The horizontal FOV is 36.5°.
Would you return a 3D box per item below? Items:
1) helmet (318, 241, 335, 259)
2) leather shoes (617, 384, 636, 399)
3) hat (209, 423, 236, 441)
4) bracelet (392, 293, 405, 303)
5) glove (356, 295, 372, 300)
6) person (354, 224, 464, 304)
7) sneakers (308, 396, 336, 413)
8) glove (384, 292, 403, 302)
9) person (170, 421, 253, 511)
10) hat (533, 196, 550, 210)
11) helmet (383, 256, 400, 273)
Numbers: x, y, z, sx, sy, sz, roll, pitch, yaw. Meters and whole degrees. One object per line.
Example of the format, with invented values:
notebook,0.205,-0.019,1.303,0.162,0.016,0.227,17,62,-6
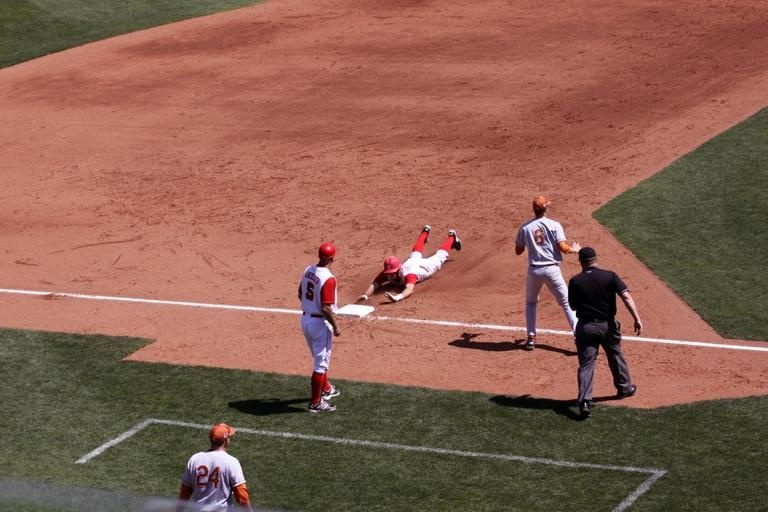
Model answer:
helmet,-1.298,-0.169,26.768,0.414,0.214,0.436,8,37,9
leather shoes,5.649,3.153,27.351,0.591,0.217,0.235,-25,35,-22
hat,-3.300,3.641,24.115,0.435,0.181,0.548,15,22,29
bracelet,0.350,1.118,31.308,0.169,0.359,0.123,-37,72,-21
glove,-0.542,1.103,31.515,0.266,0.179,0.328,2,13,11
person,0.730,0.205,32.396,1.436,0.819,3.346,19,42,32
sneakers,-1.511,3.512,27.351,0.751,0.229,0.256,-2,10,-13
glove,0.236,1.090,31.312,0.284,0.147,0.541,-7,12,-20
person,-3.546,4.367,23.901,1.430,1.704,0.646,-3,17,-8
hat,3.784,-1.280,28.306,0.341,0.276,0.333,1,14,8
helmet,0.207,0.233,31.691,0.423,0.247,0.488,0,29,20
